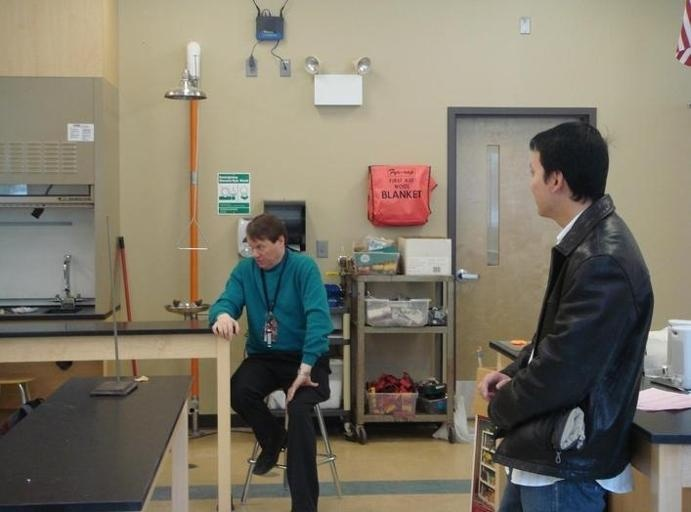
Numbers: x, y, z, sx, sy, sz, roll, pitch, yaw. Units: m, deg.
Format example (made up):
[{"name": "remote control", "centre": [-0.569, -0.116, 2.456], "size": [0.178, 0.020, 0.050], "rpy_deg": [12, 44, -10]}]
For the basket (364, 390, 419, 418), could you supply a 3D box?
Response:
[{"name": "basket", "centre": [0.363, 1.112, 5.398], "size": [0.268, 0.127, 0.193], "rpy_deg": [1, -5, -3]}]

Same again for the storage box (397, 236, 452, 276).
[{"name": "storage box", "centre": [0.638, -0.004, 5.514], "size": [0.288, 0.209, 0.298], "rpy_deg": [-1, 4, -5]}]

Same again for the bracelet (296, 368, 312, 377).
[{"name": "bracelet", "centre": [-0.245, 0.700, 4.367], "size": [0.061, 0.053, 0.053], "rpy_deg": [-5, 0, -14]}]

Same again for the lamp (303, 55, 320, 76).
[{"name": "lamp", "centre": [-0.261, -1.523, 5.701], "size": [0.119, 0.157, 0.104], "rpy_deg": [-1, 8, -4]}]

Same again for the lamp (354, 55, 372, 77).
[{"name": "lamp", "centre": [0.143, -1.521, 5.711], "size": [0.124, 0.148, 0.146], "rpy_deg": [0, 8, 2]}]

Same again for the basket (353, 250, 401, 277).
[{"name": "basket", "centre": [0.242, 0.051, 5.516], "size": [0.253, 0.127, 0.181], "rpy_deg": [2, -5, -4]}]

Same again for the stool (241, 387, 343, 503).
[{"name": "stool", "centre": [-0.277, 1.204, 4.765], "size": [0.606, 0.906, 0.611], "rpy_deg": [2, -8, -18]}]

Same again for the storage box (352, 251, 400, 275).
[{"name": "storage box", "centre": [0.244, 0.057, 5.502], "size": [0.248, 0.124, 0.178], "rpy_deg": [2, -5, -4]}]

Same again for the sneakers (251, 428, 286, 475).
[{"name": "sneakers", "centre": [-0.477, 1.191, 4.397], "size": [0.119, 0.157, 0.346], "rpy_deg": [23, 35, 11]}]

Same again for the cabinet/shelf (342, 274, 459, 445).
[{"name": "cabinet/shelf", "centre": [0.470, 0.722, 5.770], "size": [0.825, 1.174, 0.686], "rpy_deg": [0, 4, -2]}]
